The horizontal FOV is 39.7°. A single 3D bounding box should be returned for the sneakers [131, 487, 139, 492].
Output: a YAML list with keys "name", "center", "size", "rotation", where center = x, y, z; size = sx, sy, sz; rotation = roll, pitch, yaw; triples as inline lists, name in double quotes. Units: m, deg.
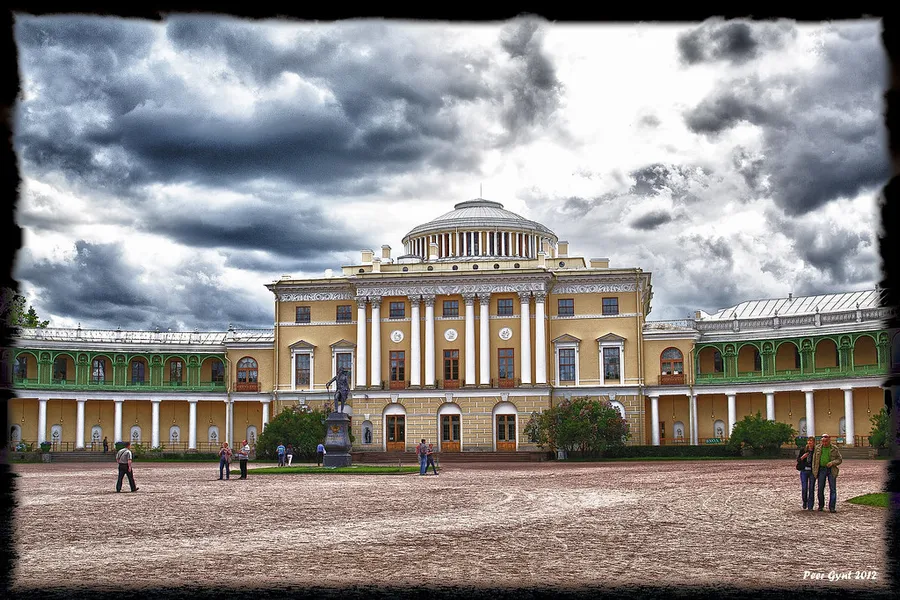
- name: "sneakers"
  center: [-10.493, 6.325, 41.459]
  size: [0.190, 0.166, 0.300]
  rotation: [2, -8, -25]

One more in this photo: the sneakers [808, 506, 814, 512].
- name: "sneakers"
  center: [9.640, 5.546, 32.981]
  size: [0.116, 0.153, 0.097]
  rotation: [4, -12, 10]
